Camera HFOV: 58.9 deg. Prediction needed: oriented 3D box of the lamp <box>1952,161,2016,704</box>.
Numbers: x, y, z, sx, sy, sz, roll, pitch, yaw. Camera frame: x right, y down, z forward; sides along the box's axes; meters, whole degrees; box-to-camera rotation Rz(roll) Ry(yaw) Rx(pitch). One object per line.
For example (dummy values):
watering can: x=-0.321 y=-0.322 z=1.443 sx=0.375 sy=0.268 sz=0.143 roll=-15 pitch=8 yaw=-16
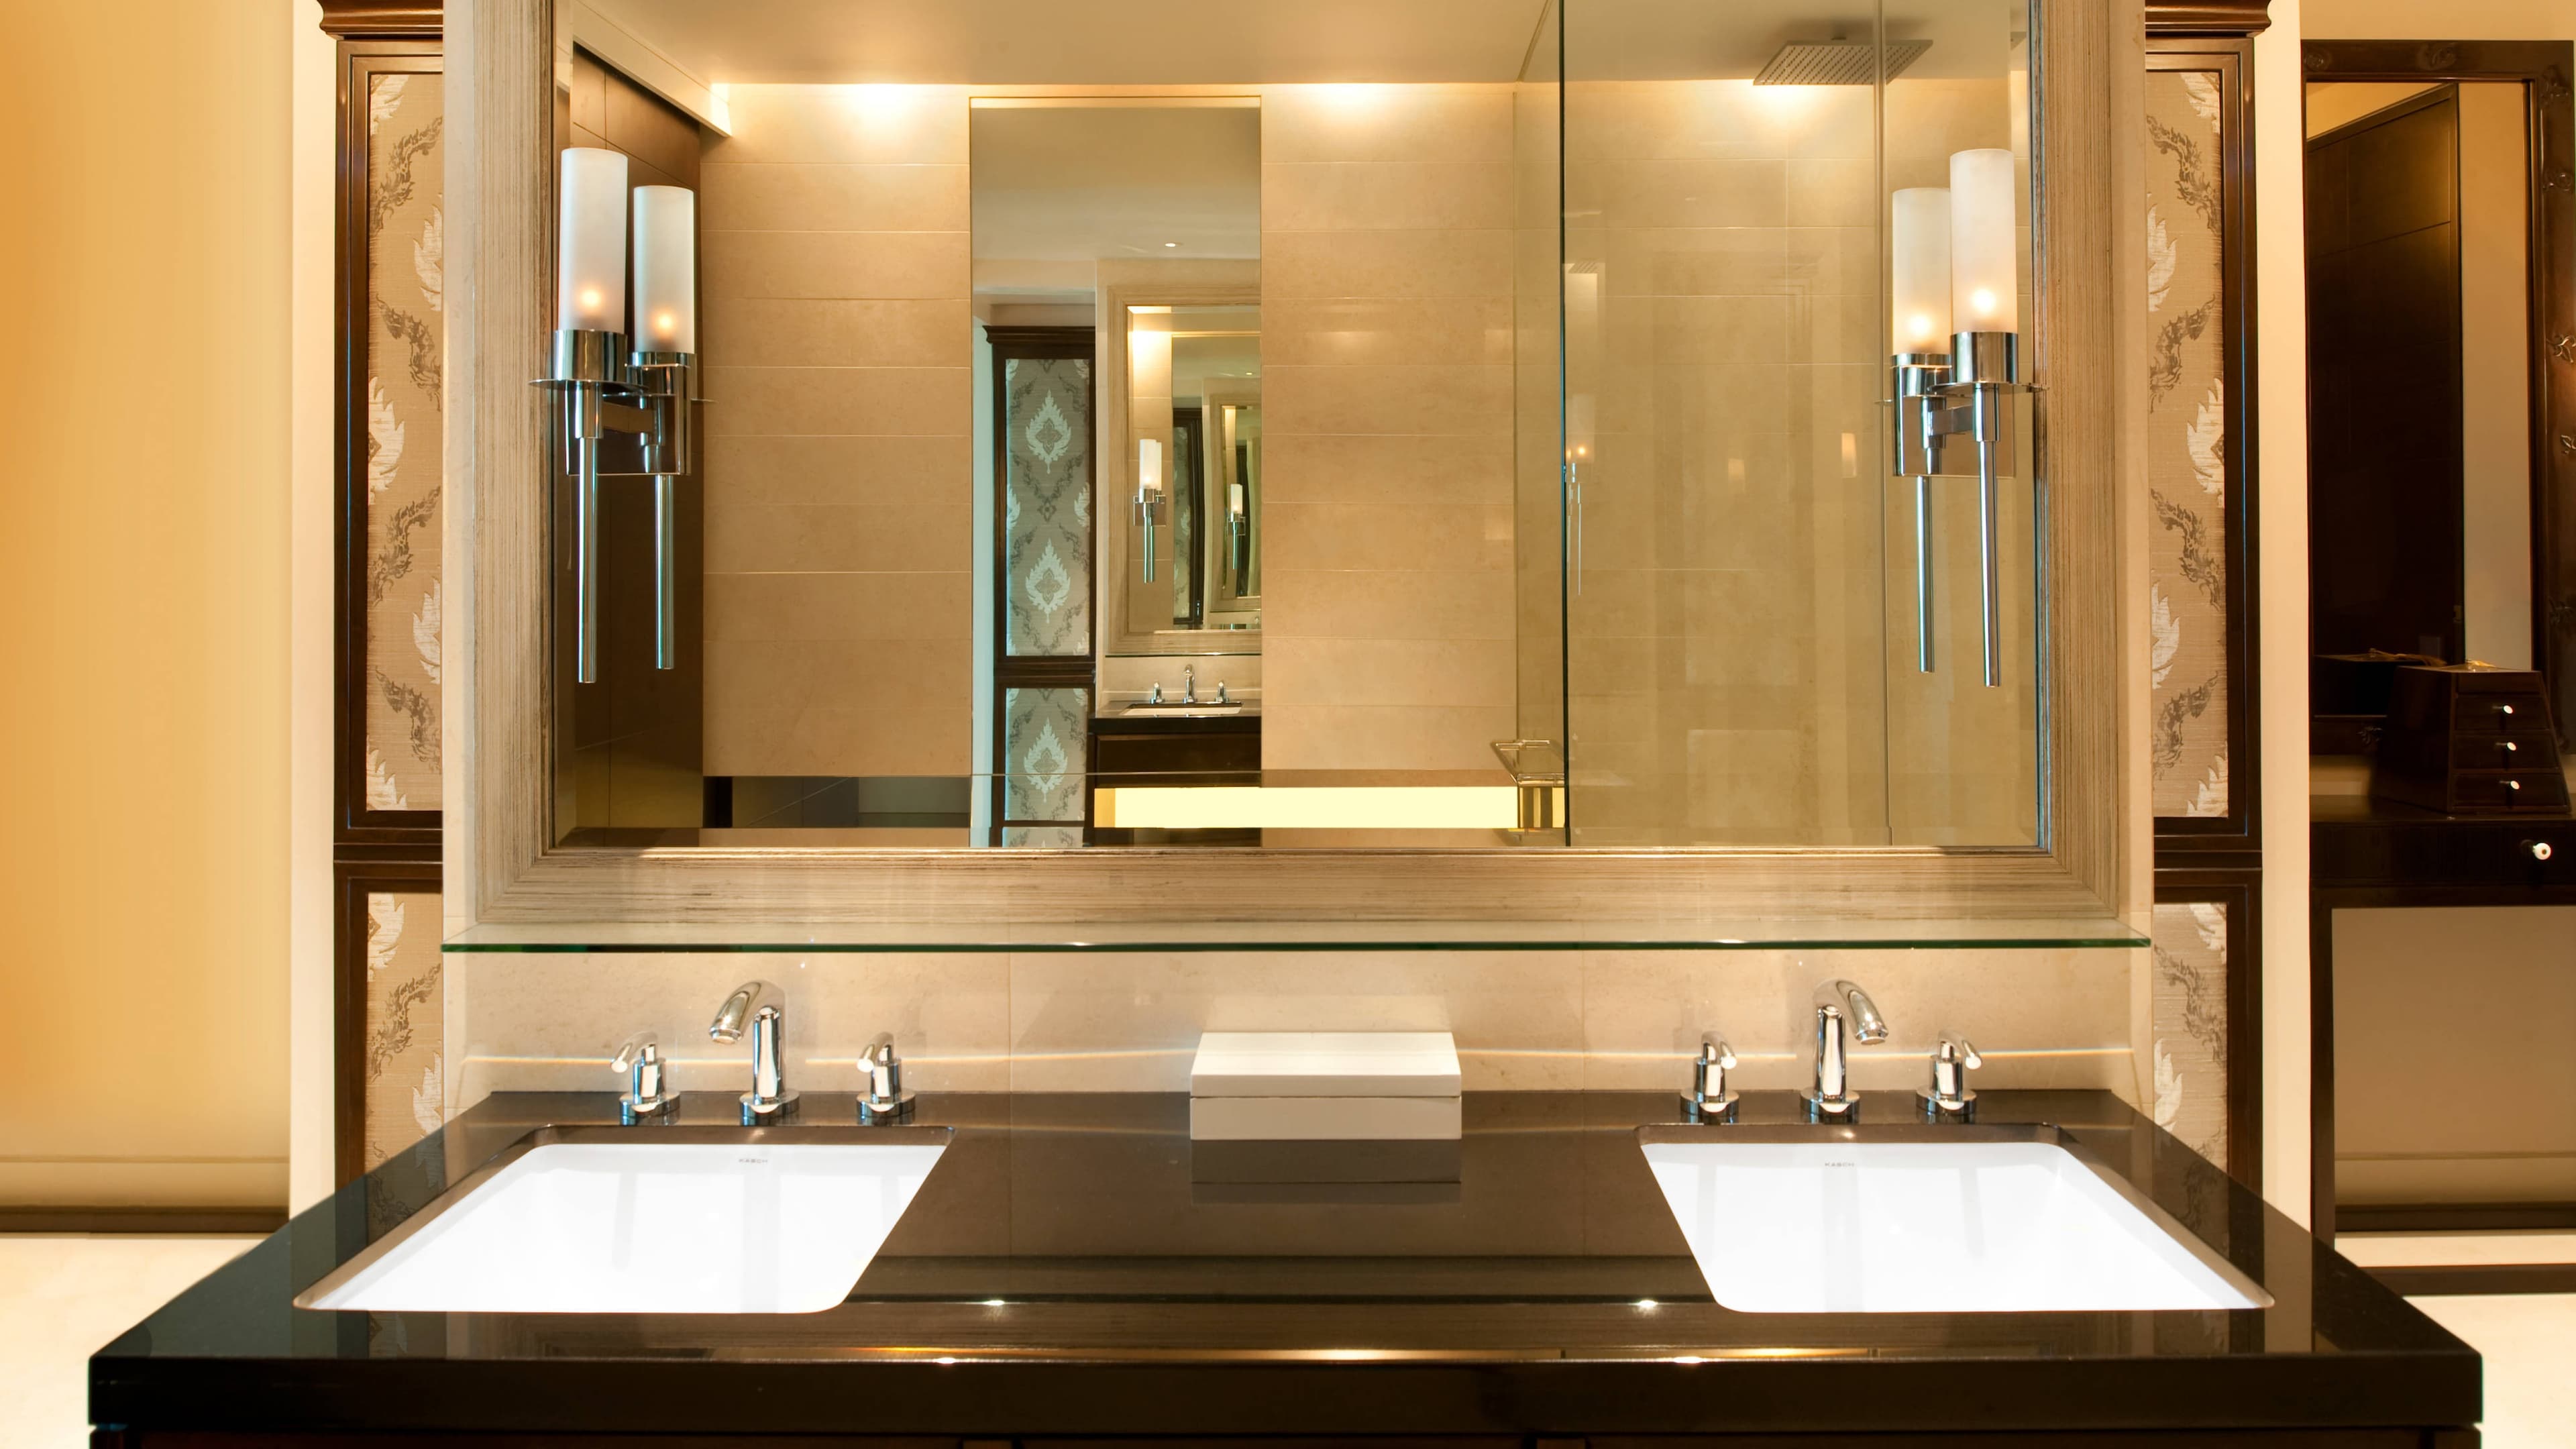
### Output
lamp: x=1.320 y=-0.520 z=4.288 sx=0.165 sy=1.036 sz=0.154 roll=-6 pitch=18 yaw=2

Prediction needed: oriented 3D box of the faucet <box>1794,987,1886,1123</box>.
faucet: x=1.012 y=0.606 z=4.122 sx=0.144 sy=0.249 sz=0.149 roll=1 pitch=-2 yaw=13

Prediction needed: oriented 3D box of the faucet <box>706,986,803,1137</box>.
faucet: x=-0.954 y=0.609 z=4.117 sx=0.148 sy=0.249 sz=0.142 roll=2 pitch=-2 yaw=-10
